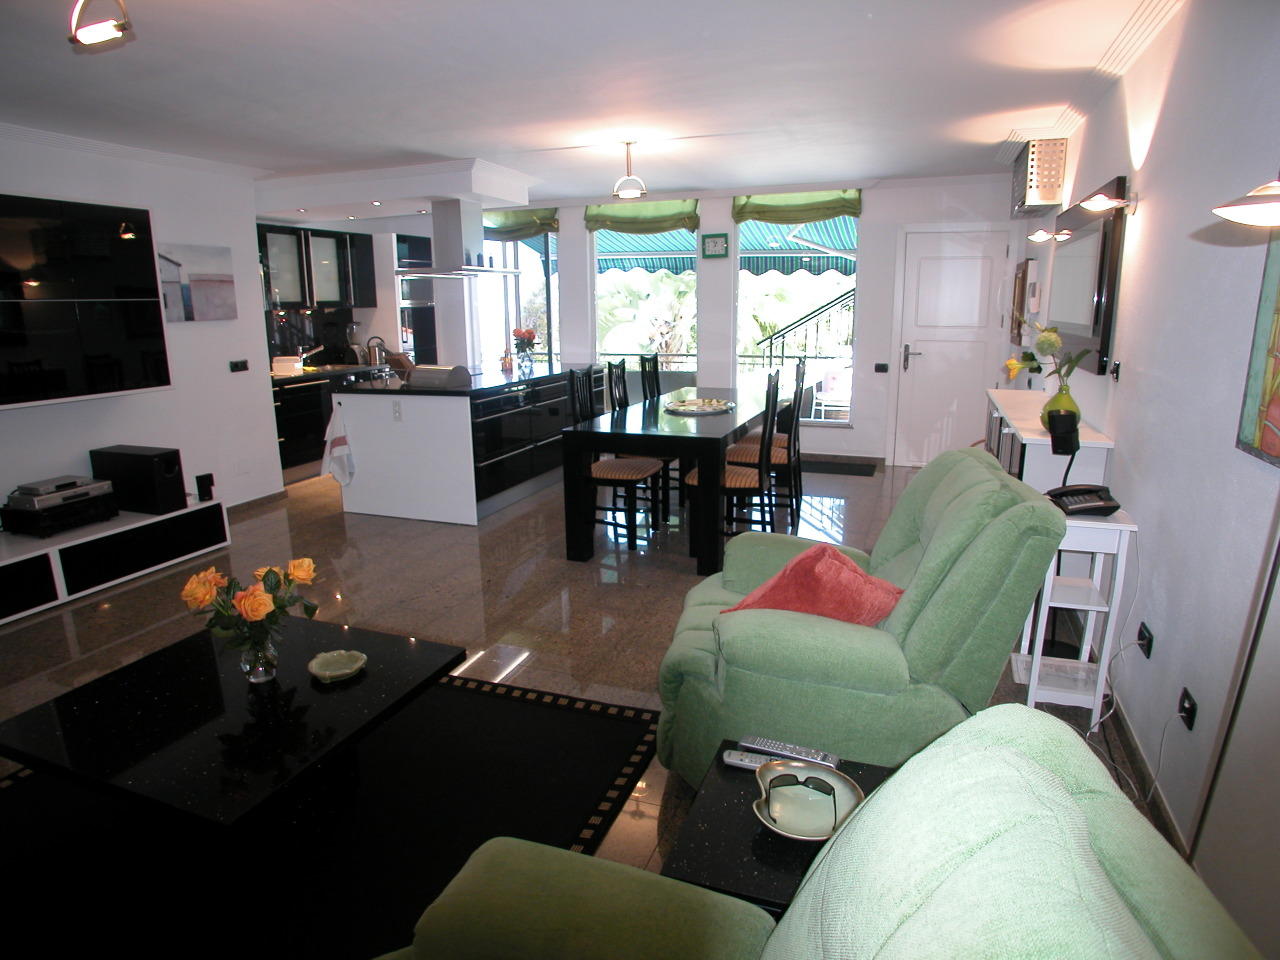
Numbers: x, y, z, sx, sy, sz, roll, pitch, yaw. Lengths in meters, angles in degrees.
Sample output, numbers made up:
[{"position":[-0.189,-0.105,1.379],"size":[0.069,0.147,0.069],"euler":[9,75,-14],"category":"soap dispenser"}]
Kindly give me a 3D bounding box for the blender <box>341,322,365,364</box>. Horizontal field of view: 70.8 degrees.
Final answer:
[{"position":[-3.072,-1.473,9.659],"size":[0.185,0.419,0.589],"euler":[-6,14,-17],"category":"blender"}]

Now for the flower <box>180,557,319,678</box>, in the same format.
[{"position":[-1.532,0.564,3.535],"size":[0.331,0.361,0.346],"euler":[5,13,13],"category":"flower"}]

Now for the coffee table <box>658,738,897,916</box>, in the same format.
[{"position":[0.242,0.925,2.338],"size":[0.369,0.093,0.382],"euler":[9,20,30],"category":"coffee table"}]

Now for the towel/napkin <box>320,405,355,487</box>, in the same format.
[{"position":[-2.219,-0.248,6.536],"size":[0.183,0.607,0.333],"euler":[-9,15,-28],"category":"towel/napkin"}]

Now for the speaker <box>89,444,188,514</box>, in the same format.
[{"position":[-3.026,0.012,5.395],"size":[0.340,0.304,0.181],"euler":[7,19,13],"category":"speaker"}]

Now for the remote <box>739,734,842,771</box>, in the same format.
[{"position":[0.428,0.779,2.574],"size":[0.189,0.029,0.115],"euler":[4,6,28],"category":"remote"}]

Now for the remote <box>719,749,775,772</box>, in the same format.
[{"position":[0.294,0.803,2.570],"size":[0.122,0.023,0.058],"euler":[2,27,14],"category":"remote"}]

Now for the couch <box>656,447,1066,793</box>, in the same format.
[{"position":[0.799,0.483,3.381],"size":[1.257,1.301,1.212],"euler":[5,15,20],"category":"couch"}]
